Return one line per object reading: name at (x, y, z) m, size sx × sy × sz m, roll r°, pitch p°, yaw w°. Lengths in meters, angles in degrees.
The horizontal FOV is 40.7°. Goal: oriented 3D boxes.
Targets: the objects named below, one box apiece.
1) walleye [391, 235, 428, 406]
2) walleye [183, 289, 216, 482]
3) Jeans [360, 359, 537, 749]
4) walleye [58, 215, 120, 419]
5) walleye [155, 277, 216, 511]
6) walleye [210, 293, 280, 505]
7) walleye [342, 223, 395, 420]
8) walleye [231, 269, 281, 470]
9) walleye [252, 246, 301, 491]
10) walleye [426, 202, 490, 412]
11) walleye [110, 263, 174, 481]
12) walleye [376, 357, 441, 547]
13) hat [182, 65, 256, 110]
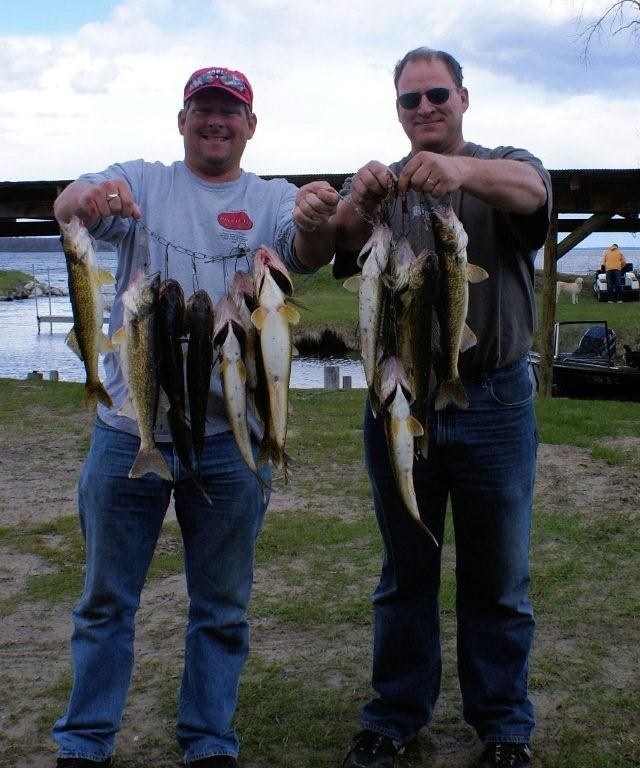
walleye at (0.300, -0.216, 3.024) m, size 0.107 × 0.632 × 0.196 m, roll -3°, pitch 3°, yaw -31°
walleye at (-0.397, -0.022, 3.081) m, size 0.093 × 0.606 × 0.175 m, roll 1°, pitch 23°, yaw -3°
Jeans at (0.518, 0.649, 3.464) m, size 0.593 × 1.821 × 0.457 m, roll 2°, pitch 16°, yaw 15°
walleye at (-0.783, -0.203, 2.969) m, size 0.137 × 0.735 × 0.227 m, roll -2°, pitch 5°, yaw -3°
walleye at (-0.470, 0.018, 3.122) m, size 0.163 × 0.870 × 0.328 m, roll -1°, pitch -6°, yaw -4°
walleye at (-0.265, -0.004, 3.053) m, size 0.118 × 0.994 × 0.206 m, roll -5°, pitch -6°, yaw 1°
walleye at (0.158, -0.245, 3.048) m, size 0.124 × 0.724 × 0.216 m, roll 5°, pitch 3°, yaw 40°
walleye at (-0.225, -0.089, 3.119) m, size 0.139 × 0.802 × 0.202 m, roll -3°, pitch 0°, yaw 4°
walleye at (-0.156, -0.068, 3.016) m, size 0.135 × 0.882 × 0.227 m, roll -1°, pitch -4°, yaw -2°
walleye at (0.469, -0.313, 3.041) m, size 0.196 × 0.824 × 0.196 m, roll -3°, pitch 8°, yaw -16°
walleye at (-0.606, -0.055, 3.039) m, size 0.202 × 0.941 × 0.154 m, roll -2°, pitch -2°, yaw 29°
walleye at (0.271, 0.164, 3.059) m, size 0.124 × 0.804 × 0.289 m, roll -6°, pitch -3°, yaw -2°
hat at (-0.355, -1.064, 3.044) m, size 0.238 × 0.123 × 0.174 m, roll 0°, pitch 5°, yaw -12°
